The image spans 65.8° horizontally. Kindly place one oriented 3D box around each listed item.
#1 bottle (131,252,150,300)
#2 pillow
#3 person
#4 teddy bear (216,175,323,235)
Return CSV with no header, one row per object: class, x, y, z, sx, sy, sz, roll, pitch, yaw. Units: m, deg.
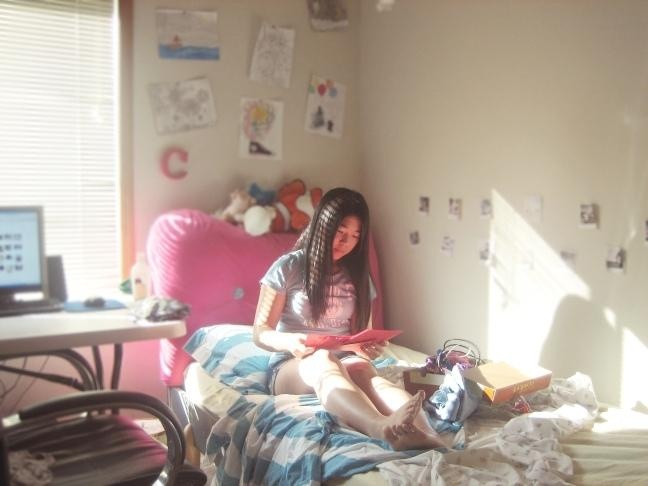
bottle,-0.911,0.164,2.493,0.089,0.222,0.283,-1,6,-22
pillow,-0.431,0.505,2.360,0.380,0.084,0.410,31,5,-14
person,0.130,0.251,1.952,0.486,0.977,1.154,10,-6,-20
teddy bear,-0.272,-0.198,2.921,0.446,0.211,0.334,-5,28,-42
